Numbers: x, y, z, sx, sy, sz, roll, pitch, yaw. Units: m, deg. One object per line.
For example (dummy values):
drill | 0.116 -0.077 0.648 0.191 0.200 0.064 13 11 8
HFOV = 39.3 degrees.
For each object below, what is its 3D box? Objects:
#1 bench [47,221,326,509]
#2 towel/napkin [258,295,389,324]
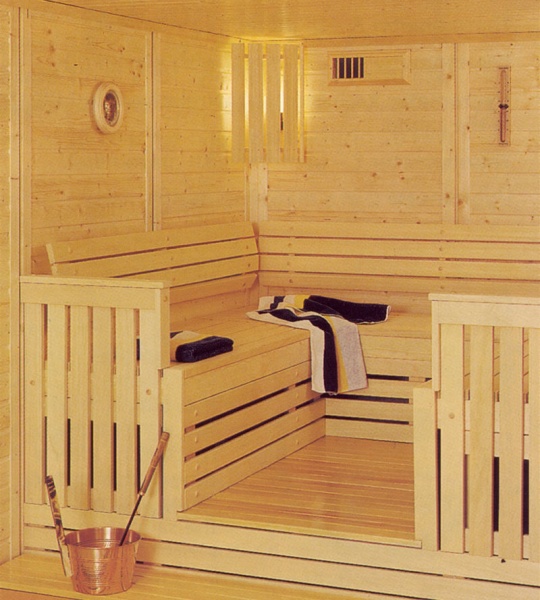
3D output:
bench | -0.392 0.310 3.380 0.611 0.805 1.470 5 10 28
towel/napkin | 0.338 0.045 4.656 0.561 0.069 0.294 6 11 16
